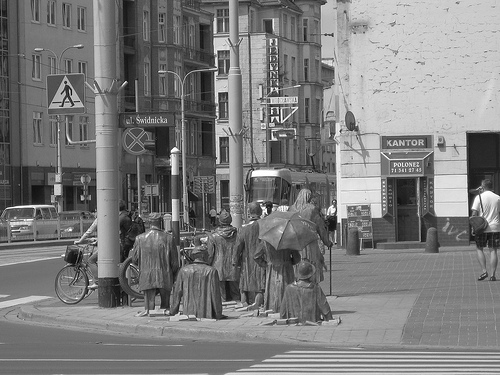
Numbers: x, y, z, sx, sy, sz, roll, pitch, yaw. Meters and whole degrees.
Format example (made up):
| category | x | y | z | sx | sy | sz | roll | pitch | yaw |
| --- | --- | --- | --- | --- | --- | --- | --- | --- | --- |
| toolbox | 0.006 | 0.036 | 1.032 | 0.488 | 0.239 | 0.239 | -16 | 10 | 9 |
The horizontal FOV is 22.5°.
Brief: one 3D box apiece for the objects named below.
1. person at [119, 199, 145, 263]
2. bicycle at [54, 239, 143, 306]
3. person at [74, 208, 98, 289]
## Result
| category | x | y | z | sx | sy | sz | roll | pitch | yaw |
| --- | --- | --- | --- | --- | --- | --- | --- | --- | --- |
| person | -3.597 | 1.206 | 36.350 | 0.611 | 1.662 | 0.546 | 4 | 4 | 35 |
| bicycle | -4.208 | 2.270 | 33.588 | 2.609 | 1.568 | 1.370 | 0 | -3 | 6 |
| person | -4.399 | 1.529 | 34.319 | 0.700 | 2.394 | 0.577 | -2 | 2 | 2 |
